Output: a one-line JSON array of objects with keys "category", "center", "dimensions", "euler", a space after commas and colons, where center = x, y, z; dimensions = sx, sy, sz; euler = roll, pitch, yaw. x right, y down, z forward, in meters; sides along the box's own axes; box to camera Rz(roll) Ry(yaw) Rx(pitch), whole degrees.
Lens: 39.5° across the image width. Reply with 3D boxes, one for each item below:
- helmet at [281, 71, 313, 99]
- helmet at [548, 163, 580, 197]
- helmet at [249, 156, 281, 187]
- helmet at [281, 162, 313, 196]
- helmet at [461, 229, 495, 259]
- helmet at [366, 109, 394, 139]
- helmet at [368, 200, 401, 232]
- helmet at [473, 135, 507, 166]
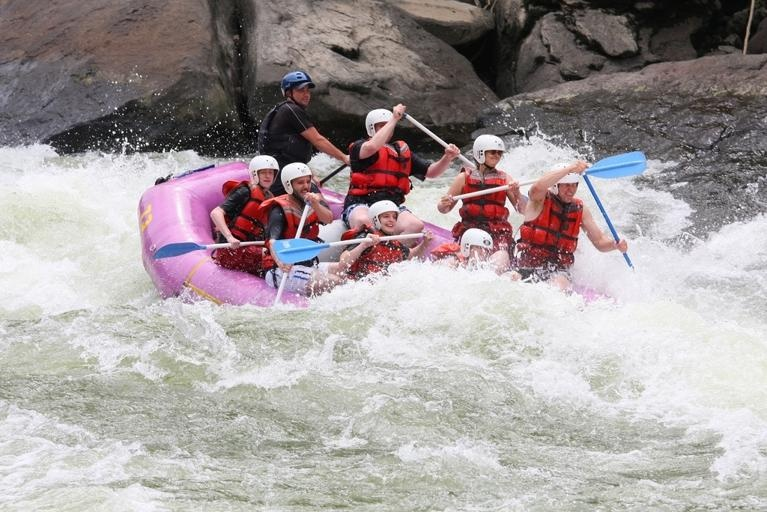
[{"category": "helmet", "center": [-1.011, -1.832, 11.358], "dimensions": [0.402, 0.159, 0.256], "euler": [-12, 9, 18]}, {"category": "helmet", "center": [1.749, -0.770, 10.527], "dimensions": [0.244, 0.294, 0.257], "euler": [-10, 25, -17]}, {"category": "helmet", "center": [-1.234, -0.894, 10.814], "dimensions": [0.274, 0.245, 0.332], "euler": [-2, 2, -44]}, {"category": "helmet", "center": [-0.892, -0.803, 10.619], "dimensions": [0.357, 0.234, 0.276], "euler": [-3, 1, 44]}, {"category": "helmet", "center": [0.937, -0.114, 10.591], "dimensions": [0.368, 0.271, 0.242], "euler": [20, 1, 13]}, {"category": "helmet", "center": [-0.045, -1.374, 11.075], "dimensions": [0.268, 0.286, 0.278], "euler": [-3, 23, -2]}, {"category": "helmet", "center": [-0.042, -0.424, 10.556], "dimensions": [0.259, 0.221, 0.340], "euler": [3, -5, -43]}, {"category": "helmet", "center": [1.061, -1.150, 11.157], "dimensions": [0.362, 0.239, 0.267], "euler": [25, 25, 39]}]
